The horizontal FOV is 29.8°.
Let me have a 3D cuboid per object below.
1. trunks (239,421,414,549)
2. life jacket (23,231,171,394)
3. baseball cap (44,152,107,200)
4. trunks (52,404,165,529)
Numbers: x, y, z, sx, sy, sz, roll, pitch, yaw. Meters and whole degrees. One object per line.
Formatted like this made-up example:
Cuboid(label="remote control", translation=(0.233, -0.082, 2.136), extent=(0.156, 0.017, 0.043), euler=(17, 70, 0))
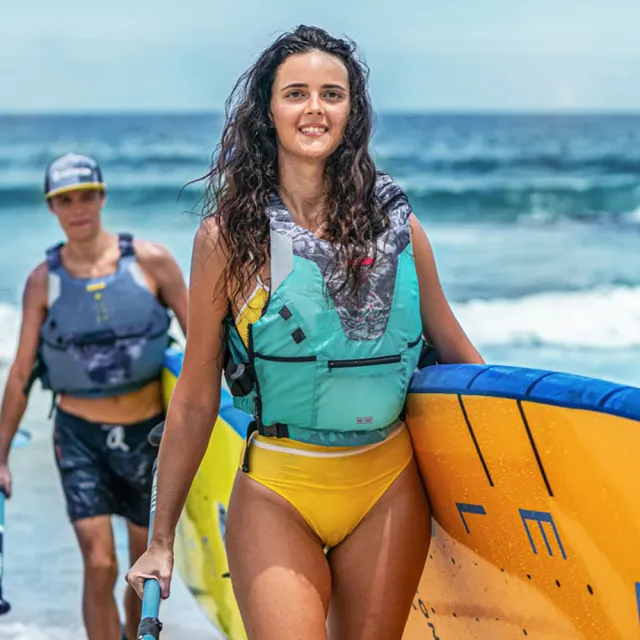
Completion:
Cuboid(label="trunks", translation=(-0.005, 0.520, 3.701), extent=(0.494, 0.352, 0.358), euler=(0, 4, -27))
Cuboid(label="life jacket", translation=(-0.920, -0.008, 5.118), extent=(0.565, 0.709, 0.406), euler=(-6, -12, -15))
Cuboid(label="baseball cap", translation=(-1.065, -0.644, 5.182), extent=(0.255, 0.214, 0.350), euler=(-7, 5, -14))
Cuboid(label="trunks", translation=(-0.859, 0.685, 5.062), extent=(0.384, 0.316, 0.536), euler=(12, 37, -17))
